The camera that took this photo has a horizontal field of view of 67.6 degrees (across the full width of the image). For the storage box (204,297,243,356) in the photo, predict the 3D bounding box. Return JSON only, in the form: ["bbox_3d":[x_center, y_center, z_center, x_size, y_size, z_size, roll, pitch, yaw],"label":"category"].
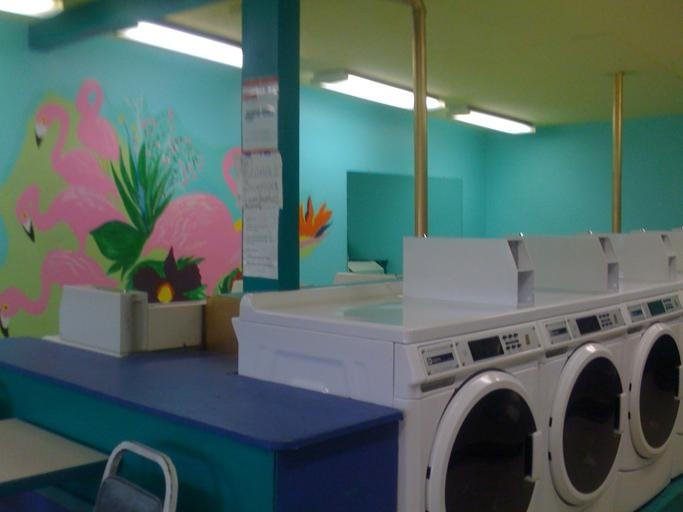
[{"bbox_3d":[-0.572,0.341,2.493,0.141,0.289,0.270,-1,-4,12],"label":"storage box"}]
